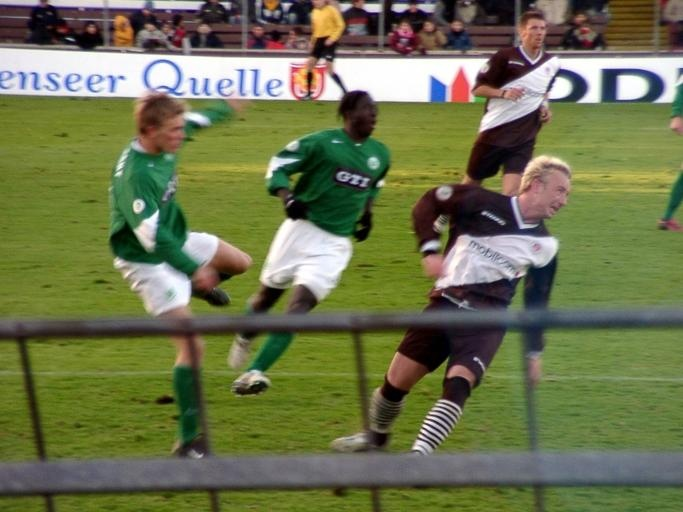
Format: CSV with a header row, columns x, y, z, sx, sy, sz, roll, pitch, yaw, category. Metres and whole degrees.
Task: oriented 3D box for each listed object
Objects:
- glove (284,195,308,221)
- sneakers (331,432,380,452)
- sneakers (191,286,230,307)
x,y,z,sx,sy,sz,roll,pitch,yaw,category
-0.423,-0.480,14.457,0.202,0.237,0.248,8,15,16,glove
0.074,1.588,12.689,0.394,0.114,0.227,-6,0,25,sneakers
-1.222,0.378,14.161,0.444,0.108,0.189,9,-17,-34,sneakers
